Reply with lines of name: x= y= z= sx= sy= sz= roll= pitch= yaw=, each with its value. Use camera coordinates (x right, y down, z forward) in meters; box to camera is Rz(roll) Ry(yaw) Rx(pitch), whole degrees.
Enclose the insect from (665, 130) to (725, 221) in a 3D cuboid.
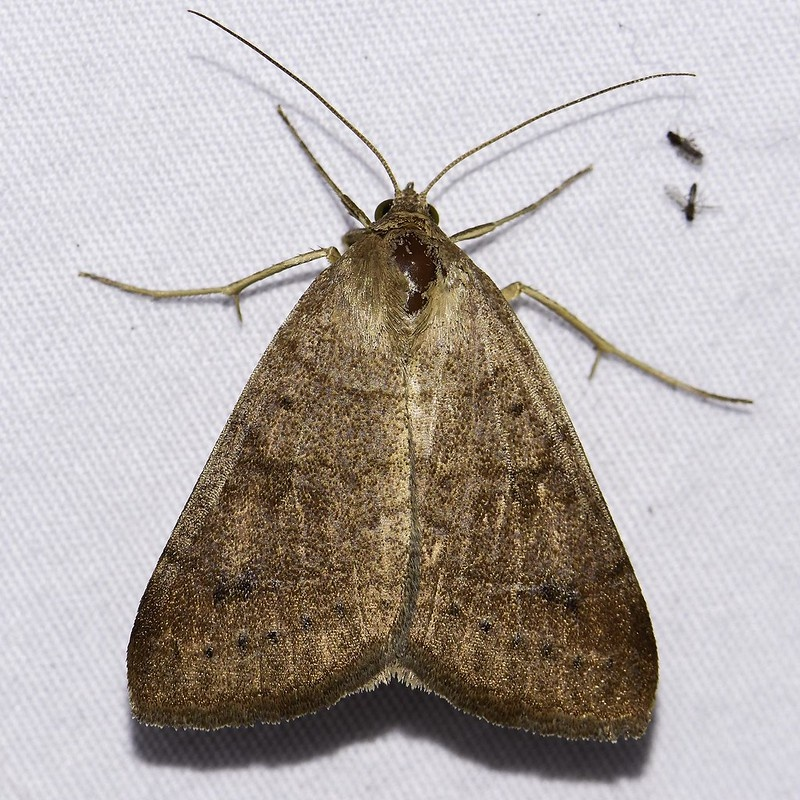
insect: x=0.959 y=-0.741 z=4.879 sx=0.163 sy=0.260 sz=0.108 roll=7 pitch=-1 yaw=1
